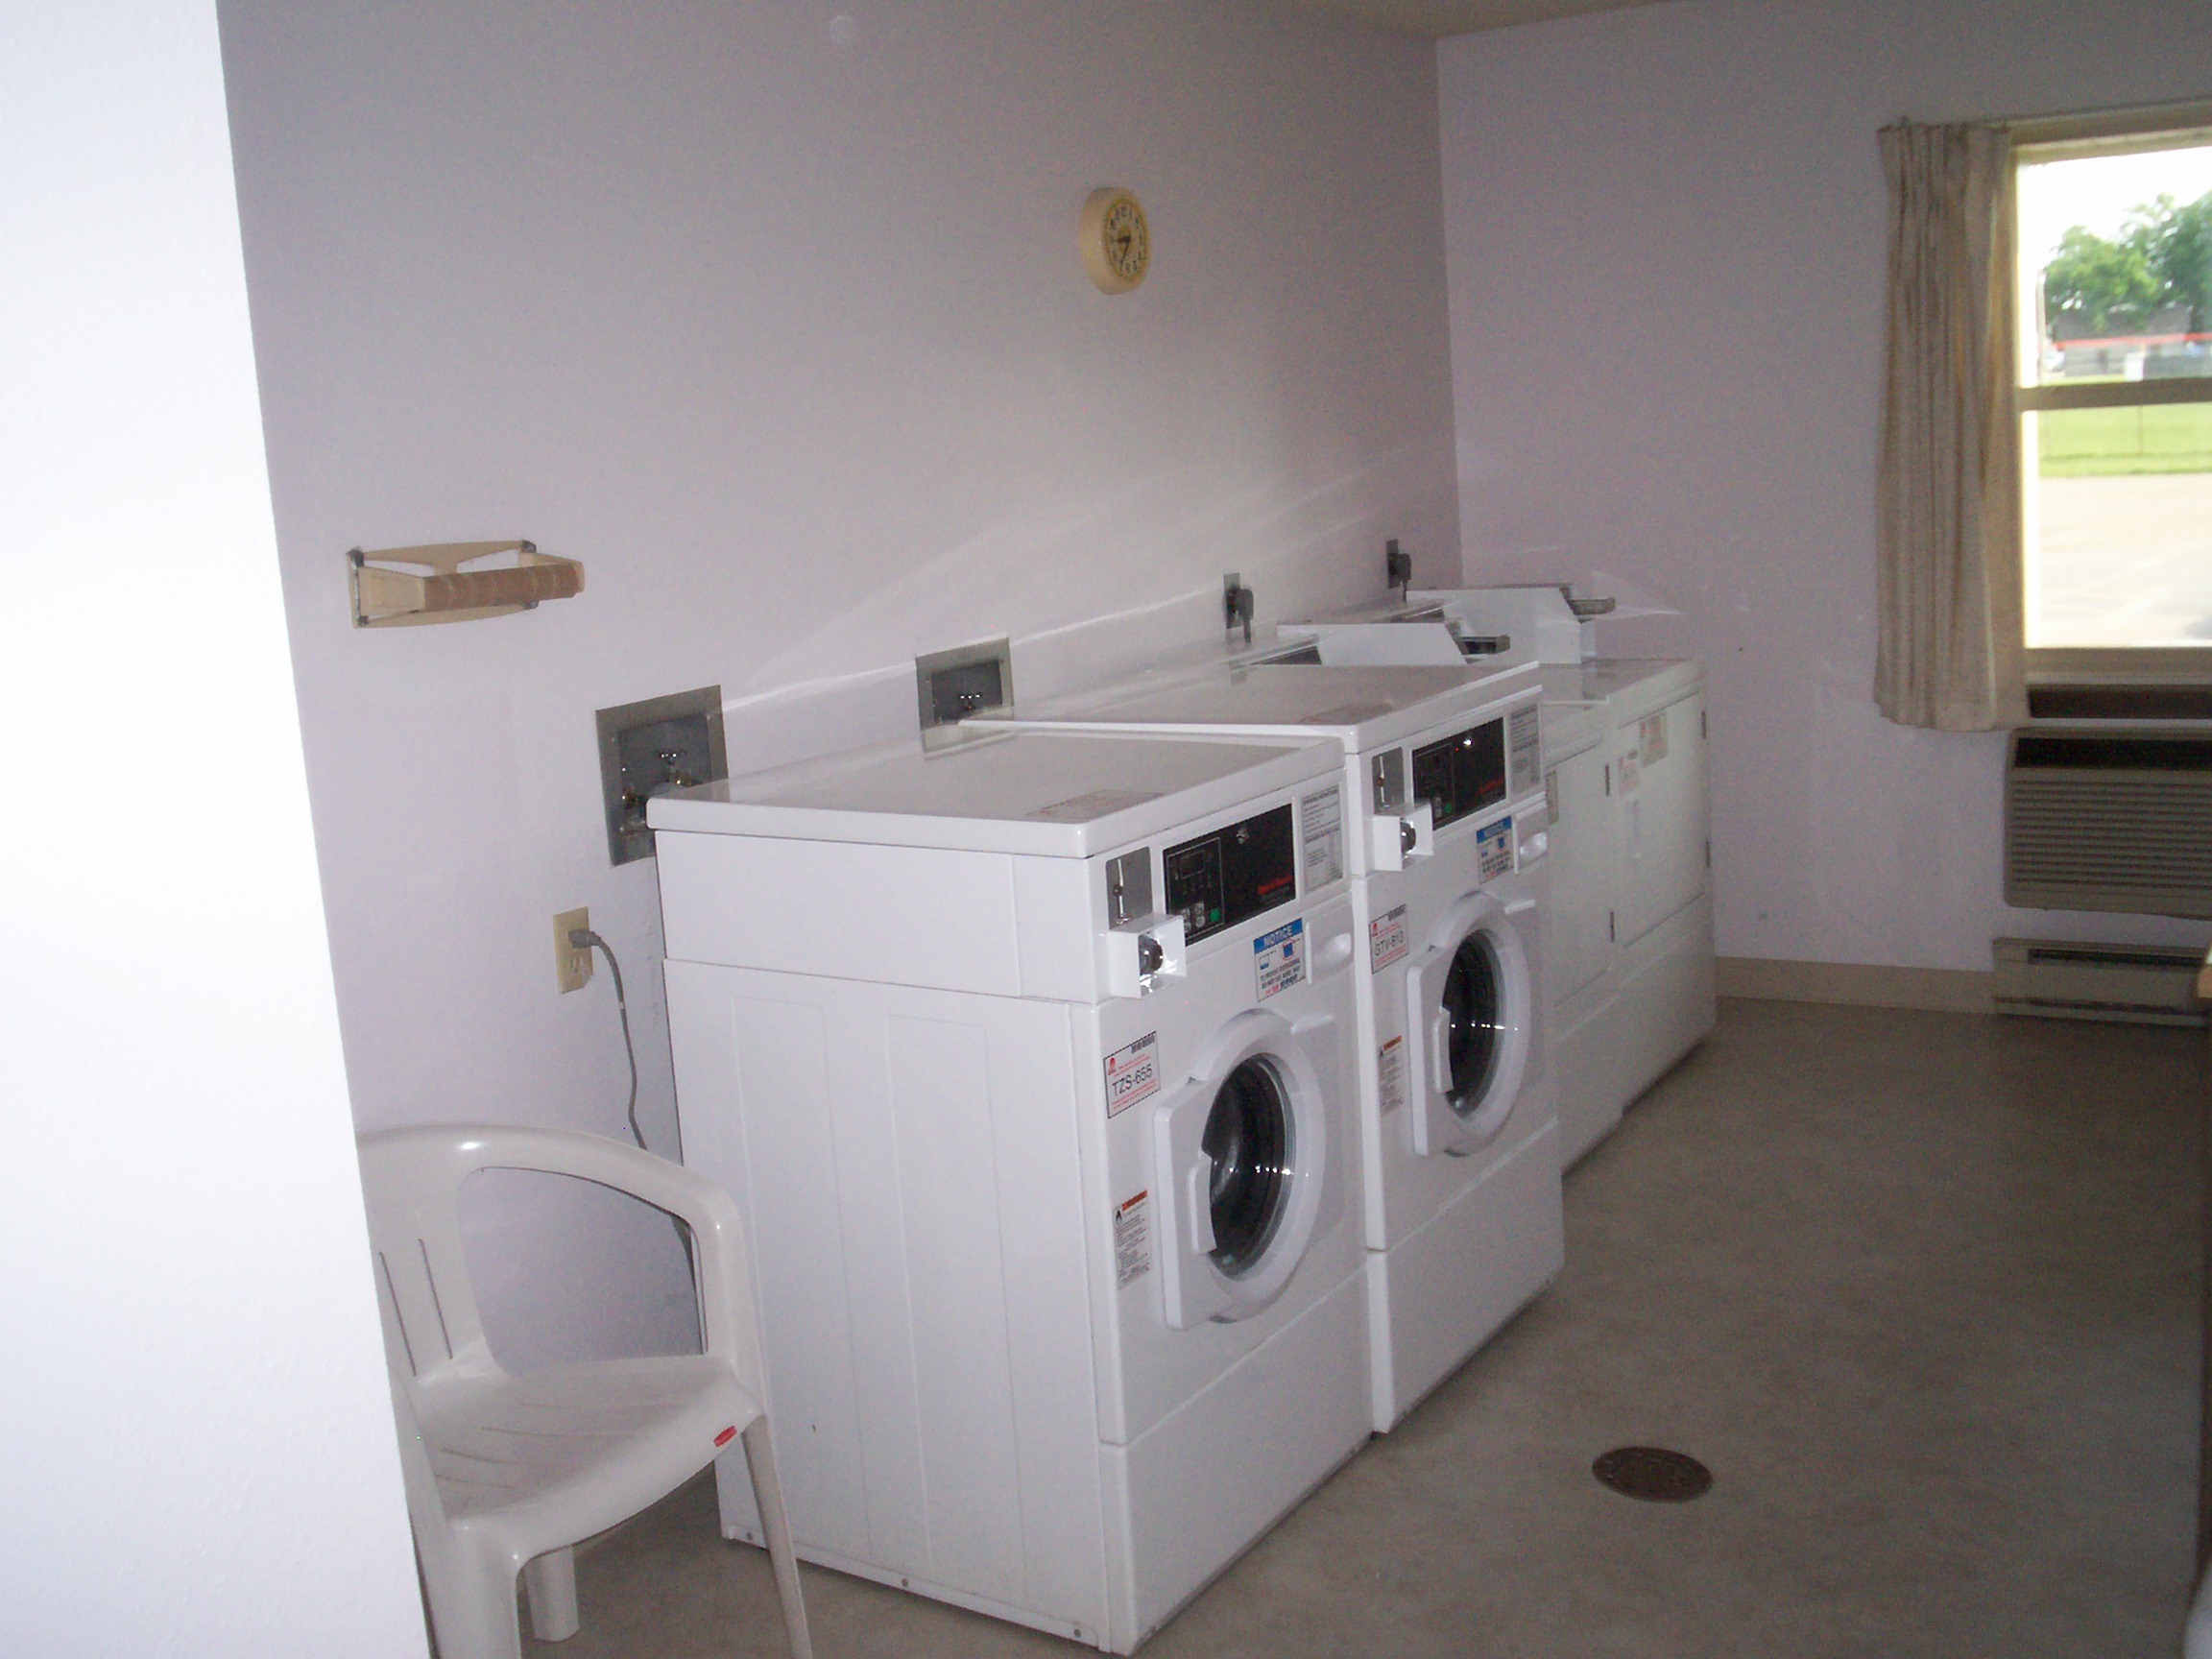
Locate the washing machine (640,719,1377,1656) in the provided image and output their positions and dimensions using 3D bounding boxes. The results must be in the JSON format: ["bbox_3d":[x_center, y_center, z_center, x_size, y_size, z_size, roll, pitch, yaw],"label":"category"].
[{"bbox_3d":[-0.046,0.390,3.181,1.163,1.695,1.170,2,9,26],"label":"washing machine"}]

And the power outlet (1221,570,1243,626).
[{"bbox_3d":[0.312,-0.573,4.152,0.023,0.104,0.073,1,-2,27],"label":"power outlet"}]
